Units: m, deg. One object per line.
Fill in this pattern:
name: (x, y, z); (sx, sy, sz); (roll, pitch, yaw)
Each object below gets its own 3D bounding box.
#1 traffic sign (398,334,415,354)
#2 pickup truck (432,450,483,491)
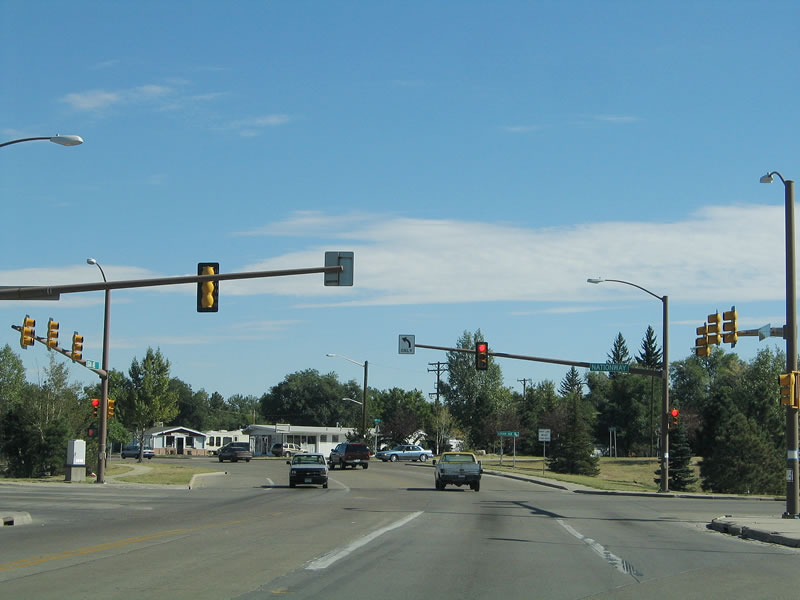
traffic sign: (0.268, 1.972, 60.602); (0.736, 1.240, 0.075); (-1, 5, 9)
pickup truck: (2.840, 8.388, 66.550); (2.108, 1.934, 1.391); (0, -8, -4)
